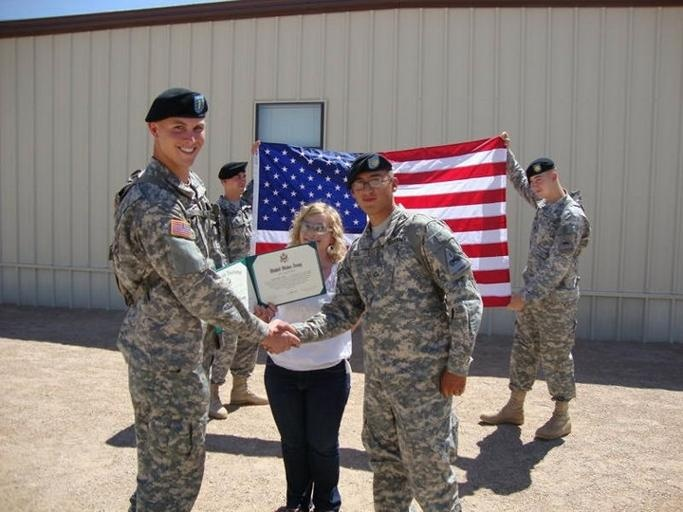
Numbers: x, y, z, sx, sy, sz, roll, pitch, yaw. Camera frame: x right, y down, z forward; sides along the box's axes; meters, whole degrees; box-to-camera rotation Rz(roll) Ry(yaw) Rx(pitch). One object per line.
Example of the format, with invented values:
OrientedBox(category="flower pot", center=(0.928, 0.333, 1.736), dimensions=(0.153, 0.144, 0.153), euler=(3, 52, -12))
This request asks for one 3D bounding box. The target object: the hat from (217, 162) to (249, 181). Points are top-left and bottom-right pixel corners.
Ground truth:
OrientedBox(category="hat", center=(-1.363, -0.994, 9.392), dimensions=(0.274, 0.108, 0.247), euler=(-18, 17, 40))

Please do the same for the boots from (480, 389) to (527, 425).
OrientedBox(category="boots", center=(1.959, 1.855, 9.156), dimensions=(0.637, 0.562, 0.289), euler=(2, -5, 8))

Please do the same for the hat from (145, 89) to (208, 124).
OrientedBox(category="hat", center=(-1.449, -1.340, 6.690), dimensions=(0.357, 0.189, 0.361), euler=(5, 13, 28))

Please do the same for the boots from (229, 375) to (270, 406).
OrientedBox(category="boots", center=(-1.098, 1.698, 9.568), dimensions=(0.624, 0.531, 0.258), euler=(0, 5, -12))

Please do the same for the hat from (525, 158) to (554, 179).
OrientedBox(category="hat", center=(2.329, -1.053, 8.822), dimensions=(0.218, 0.160, 0.280), euler=(-20, -1, 37))

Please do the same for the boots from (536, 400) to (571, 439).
OrientedBox(category="boots", center=(2.444, 1.871, 8.632), dimensions=(0.519, 0.436, 0.155), euler=(-6, 10, -26))

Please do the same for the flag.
OrientedBox(category="flag", center=(0.422, -0.336, 8.127), dimensions=(1.924, 1.485, 0.034), euler=(0, -2, 9))

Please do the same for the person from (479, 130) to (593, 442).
OrientedBox(category="person", center=(2.353, 0.308, 8.836), dimensions=(0.994, 3.439, 1.133), euler=(1, 9, 13))
